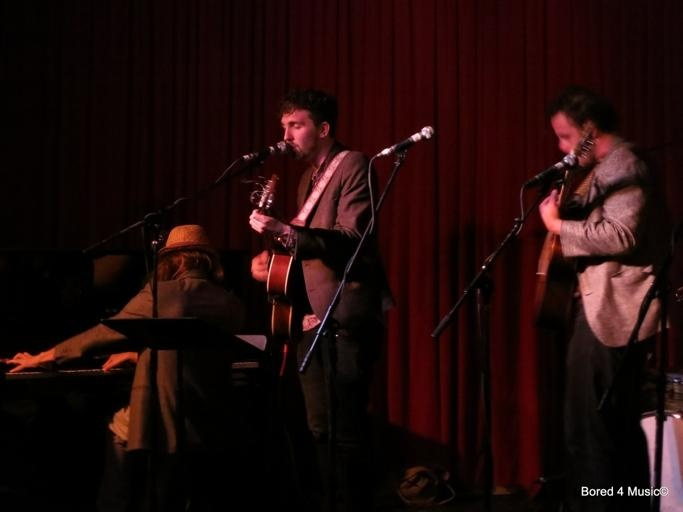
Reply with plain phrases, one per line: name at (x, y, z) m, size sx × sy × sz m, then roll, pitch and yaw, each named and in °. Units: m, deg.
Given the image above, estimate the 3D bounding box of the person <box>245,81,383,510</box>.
person at (-0.109, 0.199, 3.947) m, size 0.738 × 2.249 × 0.790 m, roll 3°, pitch -17°, yaw 3°

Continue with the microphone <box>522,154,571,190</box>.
microphone at (1.172, -0.486, 4.080) m, size 0.400 × 0.127 × 0.094 m, roll -36°, pitch 7°, yaw -33°
